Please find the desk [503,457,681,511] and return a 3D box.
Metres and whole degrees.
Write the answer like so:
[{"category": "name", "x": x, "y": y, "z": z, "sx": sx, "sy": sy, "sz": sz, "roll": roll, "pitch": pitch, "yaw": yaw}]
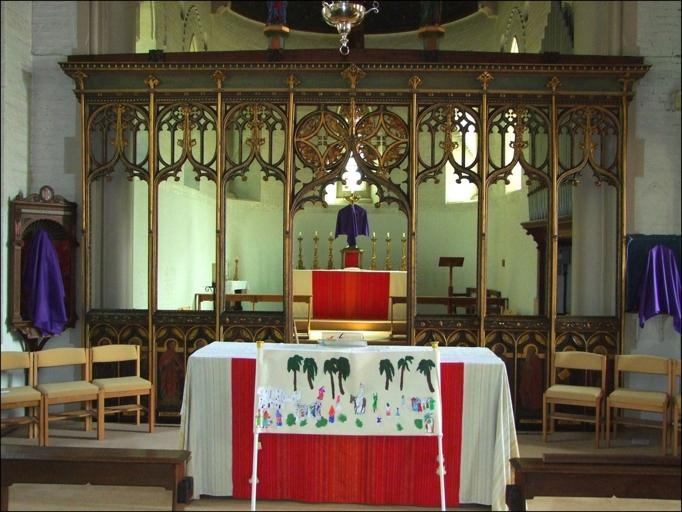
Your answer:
[{"category": "desk", "x": 2.956, "y": 2.655, "z": 17.028, "sx": 2.039, "sy": 0.427, "sz": 0.259, "roll": 0, "pitch": 0, "yaw": 0}]
